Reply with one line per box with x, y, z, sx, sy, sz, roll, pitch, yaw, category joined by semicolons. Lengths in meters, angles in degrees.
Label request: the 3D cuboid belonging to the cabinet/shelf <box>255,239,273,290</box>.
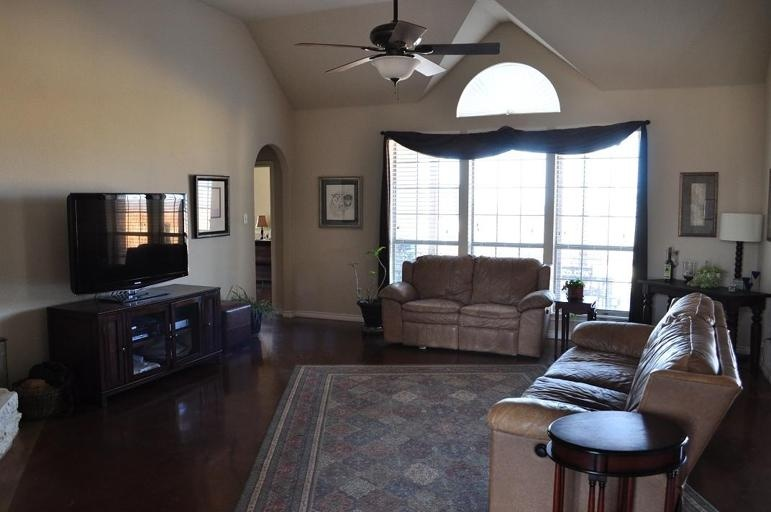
-2.180;0.141;9.703;0.297;0.869;0.130;5;15;19;cabinet/shelf

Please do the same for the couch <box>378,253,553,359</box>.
1.093;0.622;7.119;2.157;1.165;1.054;2;7;25;couch

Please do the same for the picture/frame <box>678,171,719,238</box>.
3.919;-0.639;6.793;0.419;0.771;0.227;2;15;7;picture/frame

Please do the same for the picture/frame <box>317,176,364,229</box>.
-0.651;-0.825;8.210;0.794;0.866;0.069;1;5;12;picture/frame

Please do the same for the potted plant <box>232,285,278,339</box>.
-1.770;0.770;7.290;0.513;0.550;0.398;-3;-5;-3;potted plant

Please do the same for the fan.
0.253;-1.813;5.257;1.679;0.873;1.481;0;7;-1;fan

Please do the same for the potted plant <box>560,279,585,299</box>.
2.235;0.398;6.539;0.240;0.226;0.236;2;-1;-20;potted plant

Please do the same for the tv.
-2.714;-0.099;5.747;0.238;1.180;1.387;5;8;27;tv

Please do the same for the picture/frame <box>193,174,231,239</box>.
-2.212;-0.634;6.834;0.093;0.895;0.826;3;4;26;picture/frame

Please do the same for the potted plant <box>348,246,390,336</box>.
-0.215;0.450;7.791;0.663;1.243;0.657;-1;0;6;potted plant

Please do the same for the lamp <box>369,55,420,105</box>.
0.086;-1.601;4.892;0.409;0.248;0.400;-1;-1;-40;lamp

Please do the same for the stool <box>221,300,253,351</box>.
-1.844;0.866;6.681;0.355;0.524;0.620;-2;-1;16;stool

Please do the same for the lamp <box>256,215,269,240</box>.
-2.315;-0.539;10.268;0.215;0.430;0.274;-6;16;-21;lamp

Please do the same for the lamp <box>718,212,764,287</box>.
4.215;-0.103;6.451;0.459;0.790;0.603;8;17;28;lamp

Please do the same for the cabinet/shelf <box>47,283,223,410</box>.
-2.652;0.891;5.974;0.780;0.872;1.706;1;5;23;cabinet/shelf

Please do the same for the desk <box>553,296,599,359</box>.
2.305;0.910;6.536;0.594;0.777;0.599;1;-12;36;desk
